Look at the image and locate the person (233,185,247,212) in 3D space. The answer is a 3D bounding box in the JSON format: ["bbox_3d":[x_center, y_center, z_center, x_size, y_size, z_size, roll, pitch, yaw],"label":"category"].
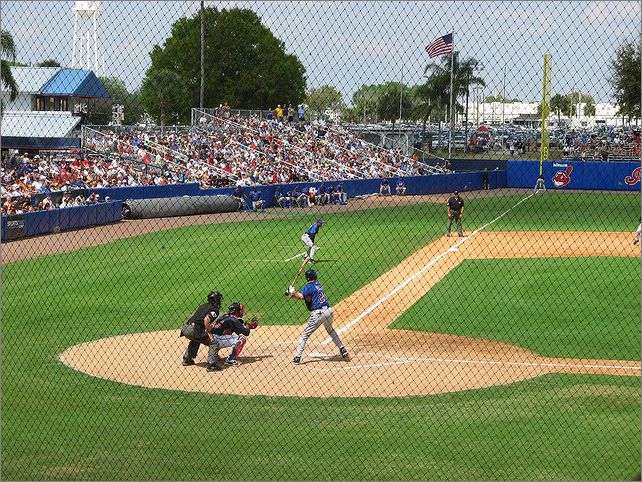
[{"bbox_3d":[-3.703,-1.889,43.996,0.802,1.109,1.865,-1,12,-4],"label":"person"}]

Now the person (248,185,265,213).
[{"bbox_3d":[-2.973,-1.865,44.596,0.675,1.071,1.719,0,12,-4],"label":"person"}]

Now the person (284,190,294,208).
[{"bbox_3d":[-1.560,-1.982,46.935,0.410,0.792,1.038,0,12,-3],"label":"person"}]

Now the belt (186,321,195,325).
[{"bbox_3d":[-2.820,1.806,20.576,0.100,0.066,0.228,-10,17,-42],"label":"belt"}]

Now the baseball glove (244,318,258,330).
[{"bbox_3d":[-1.548,1.836,20.987,0.272,0.279,0.238,4,12,15],"label":"baseball glove"}]

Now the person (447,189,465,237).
[{"bbox_3d":[5.112,-1.054,36.374,0.600,1.897,0.478,1,25,5],"label":"person"}]

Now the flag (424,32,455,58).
[{"bbox_3d":[1.890,-3.120,15.202,0.417,0.370,0.282,2,11,7],"label":"flag"}]

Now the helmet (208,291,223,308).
[{"bbox_3d":[-2.341,1.285,20.885,0.285,0.415,0.385,12,9,36],"label":"helmet"}]

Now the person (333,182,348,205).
[{"bbox_3d":[0.848,-2.473,49.229,0.871,1.336,0.713,2,15,15],"label":"person"}]

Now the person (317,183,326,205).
[{"bbox_3d":[0.003,-2.369,48.165,0.313,1.034,0.605,8,13,35],"label":"person"}]

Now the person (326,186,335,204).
[{"bbox_3d":[0.419,-2.339,48.552,0.218,0.870,0.667,7,13,33],"label":"person"}]

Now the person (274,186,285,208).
[{"bbox_3d":[-2.031,-2.109,46.492,0.524,0.941,1.059,-1,12,-5],"label":"person"}]

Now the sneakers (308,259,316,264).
[{"bbox_3d":[-0.300,0.687,31.336,0.244,0.205,0.086,5,10,33],"label":"sneakers"}]

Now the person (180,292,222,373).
[{"bbox_3d":[-2.606,1.973,20.775,0.829,1.711,0.674,0,11,0],"label":"person"}]

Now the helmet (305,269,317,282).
[{"bbox_3d":[-0.228,0.775,21.110,0.190,0.298,0.278,4,26,-1],"label":"helmet"}]

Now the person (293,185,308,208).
[{"bbox_3d":[-1.150,-2.091,47.686,0.477,1.022,0.734,-23,17,22],"label":"person"}]

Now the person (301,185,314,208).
[{"bbox_3d":[-0.533,-2.192,47.827,0.909,1.203,0.589,-6,2,1],"label":"person"}]

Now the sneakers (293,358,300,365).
[{"bbox_3d":[-0.552,2.657,20.936,0.165,0.214,0.275,0,12,-2],"label":"sneakers"}]

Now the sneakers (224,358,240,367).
[{"bbox_3d":[-1.951,2.686,20.927,0.352,0.206,0.137,1,10,2],"label":"sneakers"}]
